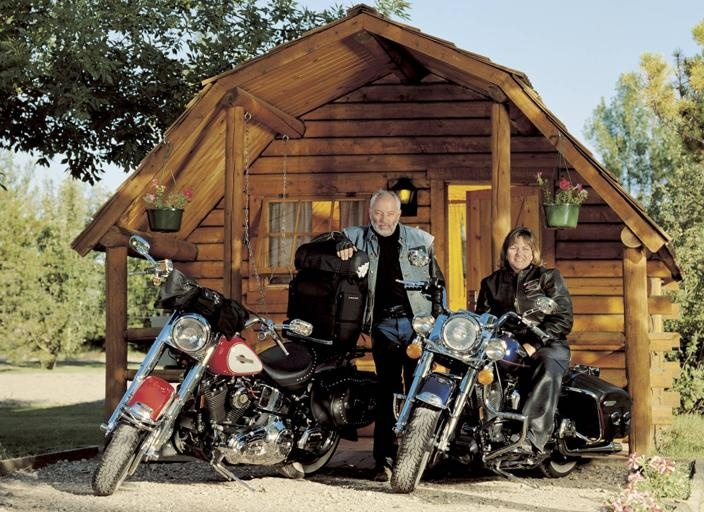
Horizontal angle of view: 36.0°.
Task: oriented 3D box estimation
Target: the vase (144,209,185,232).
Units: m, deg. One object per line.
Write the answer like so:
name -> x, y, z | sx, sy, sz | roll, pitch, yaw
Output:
vase -> -2.615, -0.473, 15.102 | 0.354, 0.232, 0.366 | 0, -3, -4

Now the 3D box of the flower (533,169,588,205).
flower -> 2.983, -0.992, 15.129 | 0.624, 0.456, 0.631 | 6, -8, 18

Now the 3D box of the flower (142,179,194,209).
flower -> -2.660, -0.868, 15.182 | 0.482, 0.455, 0.257 | 7, -34, -20

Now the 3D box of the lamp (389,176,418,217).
lamp -> 0.694, -0.885, 16.193 | 0.502, 0.809, 0.532 | -2, 2, 6
